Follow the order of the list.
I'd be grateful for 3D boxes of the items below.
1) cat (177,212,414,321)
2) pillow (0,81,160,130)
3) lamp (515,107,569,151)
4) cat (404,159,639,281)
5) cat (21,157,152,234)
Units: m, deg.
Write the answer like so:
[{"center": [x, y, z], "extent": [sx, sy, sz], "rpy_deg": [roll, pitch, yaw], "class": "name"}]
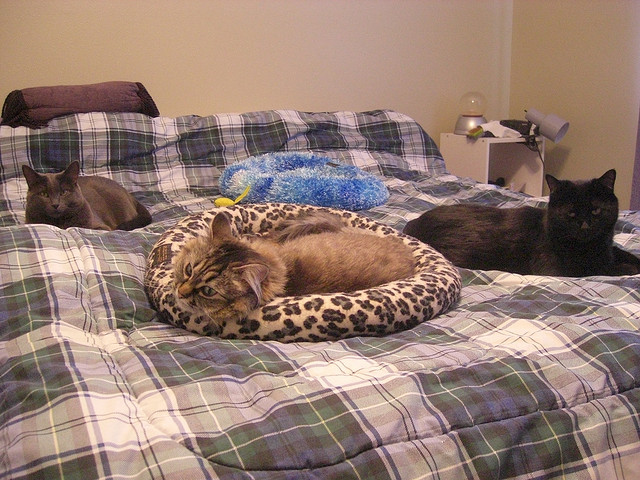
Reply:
[{"center": [-0.061, 0.057, 1.265], "extent": [0.406, 0.119, 0.346], "rpy_deg": [-4, 10, -21], "class": "cat"}, {"center": [-1.260, -0.727, 2.697], "extent": [0.590, 0.144, 0.417], "rpy_deg": [-6, 16, -22], "class": "pillow"}, {"center": [1.586, -0.779, 3.653], "extent": [0.160, 0.292, 0.296], "rpy_deg": [-39, 63, -12], "class": "lamp"}, {"center": [0.548, -0.060, 1.766], "extent": [0.859, 0.304, 0.306], "rpy_deg": [-1, 21, 37], "class": "cat"}, {"center": [-0.858, -0.174, 2.068], "extent": [0.346, 0.266, 0.527], "rpy_deg": [-2, 8, 9], "class": "cat"}]
